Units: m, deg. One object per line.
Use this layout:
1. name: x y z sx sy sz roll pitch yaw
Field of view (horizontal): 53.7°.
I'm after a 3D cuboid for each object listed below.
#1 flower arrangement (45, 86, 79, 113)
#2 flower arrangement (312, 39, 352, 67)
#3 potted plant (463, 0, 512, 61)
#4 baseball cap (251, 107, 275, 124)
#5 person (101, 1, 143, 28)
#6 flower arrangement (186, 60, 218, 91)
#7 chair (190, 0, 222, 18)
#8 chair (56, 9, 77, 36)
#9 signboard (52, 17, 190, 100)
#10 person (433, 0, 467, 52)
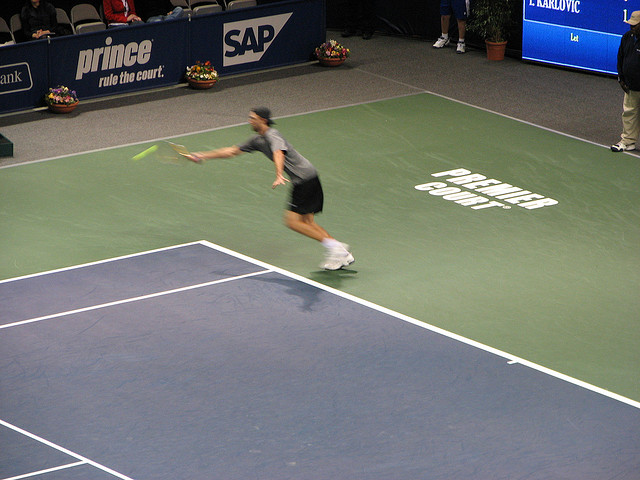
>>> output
1. flower arrangement: -5.687 -3.106 13.934 0.728 0.374 0.621 1 17 -2
2. flower arrangement: 0.360 -4.923 16.805 0.882 0.480 0.782 14 36 16
3. potted plant: 4.610 -5.716 17.249 1.138 1.566 0.608 1 21 6
4. baseball cap: -0.728 -1.550 7.931 0.227 0.204 0.238 -2 19 -5
5. person: -5.185 -5.924 16.528 0.869 0.690 1.096 -6 19 -15
6. flower arrangement: -2.852 -4.016 15.371 0.804 0.439 0.730 0 28 -1
7. chair: -3.071 -6.256 16.950 0.825 0.491 2.990 -4 18 -10
8. chair: -6.682 -5.791 16.678 0.388 0.587 0.688 -8 20 -18
9. signboard: -4.568 -4.176 14.792 3.042 1.068 0.091 -13 28 -27
10. person: 3.686 -6.043 17.868 0.786 1.364 1.055 -8 21 -18
